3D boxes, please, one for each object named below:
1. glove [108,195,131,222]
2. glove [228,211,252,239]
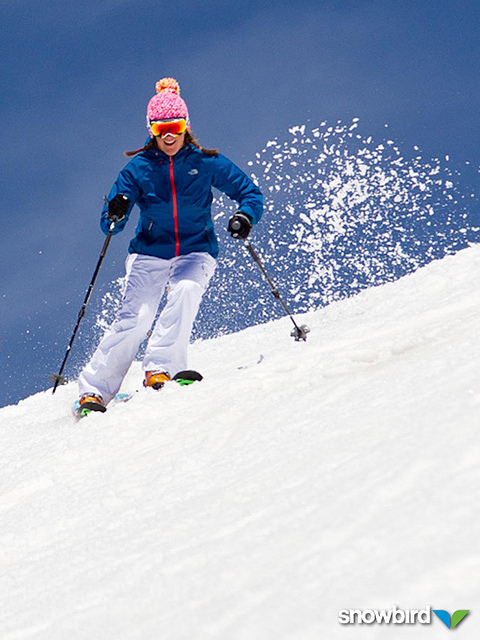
[{"bbox_3d":[-0.679,-0.626,4.435,0.109,0.138,0.047,9,-3,-4],"label":"glove"},{"bbox_3d":[-0.014,-0.508,4.346,0.166,0.203,0.079,-2,-6,4],"label":"glove"}]
